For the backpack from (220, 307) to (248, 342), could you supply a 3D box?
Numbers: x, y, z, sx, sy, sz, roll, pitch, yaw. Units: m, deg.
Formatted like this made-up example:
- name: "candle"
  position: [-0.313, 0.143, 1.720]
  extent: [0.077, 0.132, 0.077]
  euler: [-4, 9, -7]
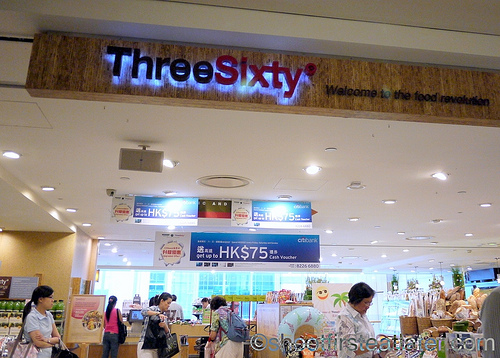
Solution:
- name: "backpack"
  position: [-0.229, 2.594, 6.352]
  extent: [0.433, 0.546, 0.437]
  euler: [-12, -26, 31]

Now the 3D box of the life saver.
- name: "life saver"
  position: [0.860, 2.170, 5.454]
  extent: [0.911, 0.408, 0.356]
  euler: [8, -16, -29]

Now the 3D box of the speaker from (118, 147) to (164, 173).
- name: "speaker"
  position: [-1.343, -0.246, 4.457]
  extent: [0.587, 0.307, 0.136]
  euler: [2, -5, -15]
